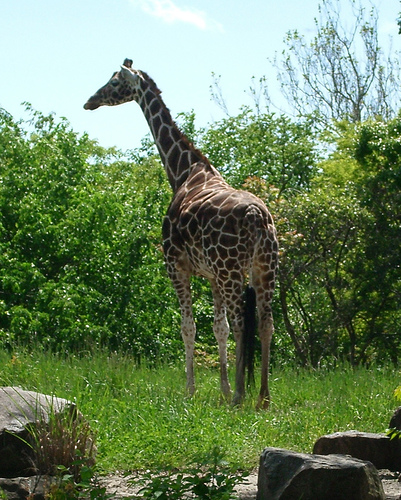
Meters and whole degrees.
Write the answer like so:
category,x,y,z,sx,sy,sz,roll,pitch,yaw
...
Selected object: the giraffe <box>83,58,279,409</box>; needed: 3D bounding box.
category,x,y,z,sx,sy,sz,roll,pitch,yaw
giraffe,0.007,-0.242,14.028,0.904,4.224,2.440,6,-9,-28
